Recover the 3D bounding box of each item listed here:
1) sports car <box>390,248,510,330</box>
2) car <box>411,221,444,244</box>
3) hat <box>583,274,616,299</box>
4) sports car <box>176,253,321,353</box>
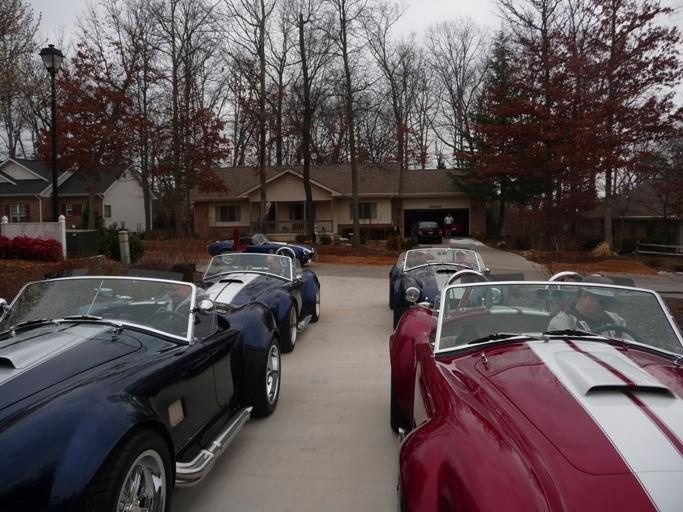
[{"bbox_3d":[1.623,0.554,8.722,1.117,0.921,2.049,-2,4,-2],"label":"sports car"},{"bbox_3d":[5.352,-1.498,30.233,1.093,0.977,2.789,0,11,6],"label":"car"},{"bbox_3d":[2.251,0.219,4.303,0.313,0.264,0.136,4,-33,24],"label":"hat"},{"bbox_3d":[-1.174,0.668,7.779,1.161,0.947,2.063,2,1,5],"label":"sports car"}]
